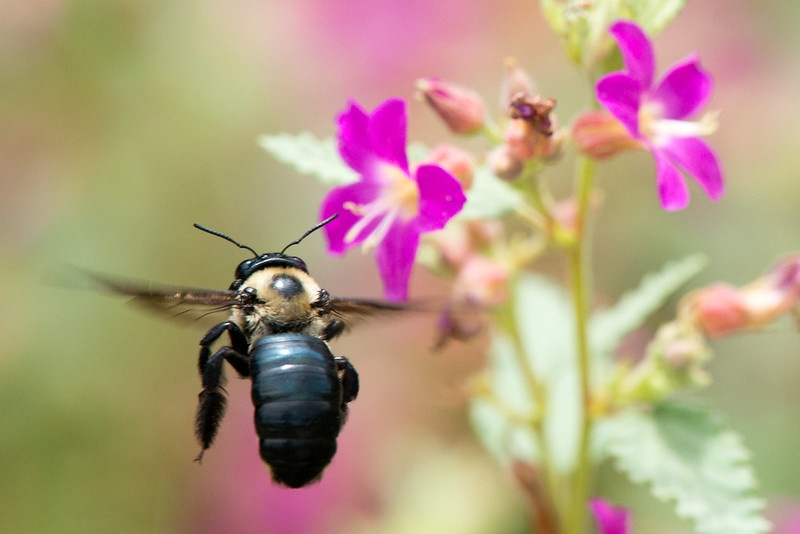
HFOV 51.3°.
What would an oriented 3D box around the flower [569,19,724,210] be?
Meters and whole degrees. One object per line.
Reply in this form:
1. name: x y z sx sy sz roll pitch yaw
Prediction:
1. flower: 0.880 -0.509 2.826 0.529 0.531 0.268 16 -35 -36
